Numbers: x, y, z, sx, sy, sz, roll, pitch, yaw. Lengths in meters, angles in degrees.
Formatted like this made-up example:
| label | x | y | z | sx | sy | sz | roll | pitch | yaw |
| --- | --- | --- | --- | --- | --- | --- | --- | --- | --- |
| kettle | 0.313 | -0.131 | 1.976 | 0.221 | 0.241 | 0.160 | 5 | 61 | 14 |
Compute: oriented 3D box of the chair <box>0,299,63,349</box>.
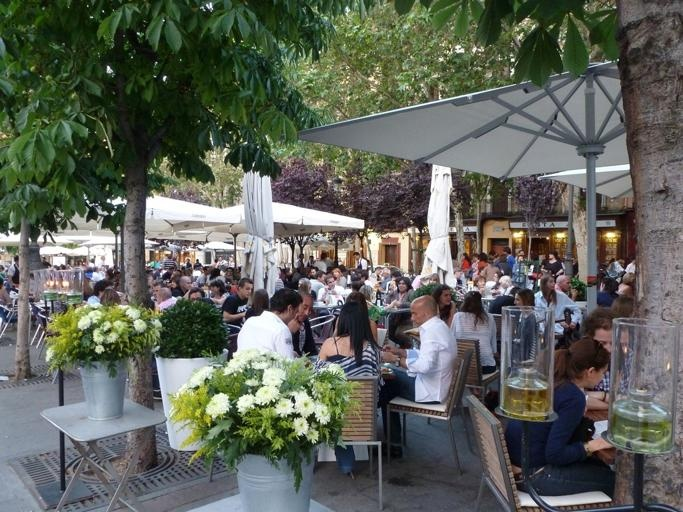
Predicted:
| label | x | y | z | sx | sy | sz | roll | pitch | yaw |
| --- | --- | --- | --- | --- | --- | --- | --- | --- | --- |
| chair | -5.161 | 1.096 | 10.027 | 0.998 | 1.011 | 0.787 | 9 | 10 | 40 |

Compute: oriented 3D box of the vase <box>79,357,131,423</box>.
| label | x | y | z | sx | sy | sz | roll | pitch | yaw |
| --- | --- | --- | --- | --- | --- | --- | --- | --- | --- |
| vase | -1.777 | 0.992 | 4.657 | 0.426 | 0.429 | 0.373 | 2 | -3 | -42 |

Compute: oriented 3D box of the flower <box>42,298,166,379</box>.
| label | x | y | z | sx | sy | sz | roll | pitch | yaw |
| --- | --- | --- | --- | --- | --- | --- | --- | --- | --- |
| flower | -1.786 | 0.616 | 4.618 | 0.820 | 0.490 | 0.465 | 0 | -1 | -27 |

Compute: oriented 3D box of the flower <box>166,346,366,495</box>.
| label | x | y | z | sx | sy | sz | roll | pitch | yaw |
| --- | --- | --- | --- | --- | --- | --- | --- | --- | --- |
| flower | -0.388 | 0.794 | 3.121 | 0.726 | 0.533 | 0.707 | 4 | -8 | -23 |

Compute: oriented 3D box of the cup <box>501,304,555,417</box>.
| label | x | y | z | sx | sy | sz | roll | pitch | yaw |
| --- | --- | --- | --- | --- | --- | --- | --- | --- | --- |
| cup | 0.985 | 0.562 | 3.213 | 0.286 | 0.480 | 0.216 | -1 | -1 | 17 |
